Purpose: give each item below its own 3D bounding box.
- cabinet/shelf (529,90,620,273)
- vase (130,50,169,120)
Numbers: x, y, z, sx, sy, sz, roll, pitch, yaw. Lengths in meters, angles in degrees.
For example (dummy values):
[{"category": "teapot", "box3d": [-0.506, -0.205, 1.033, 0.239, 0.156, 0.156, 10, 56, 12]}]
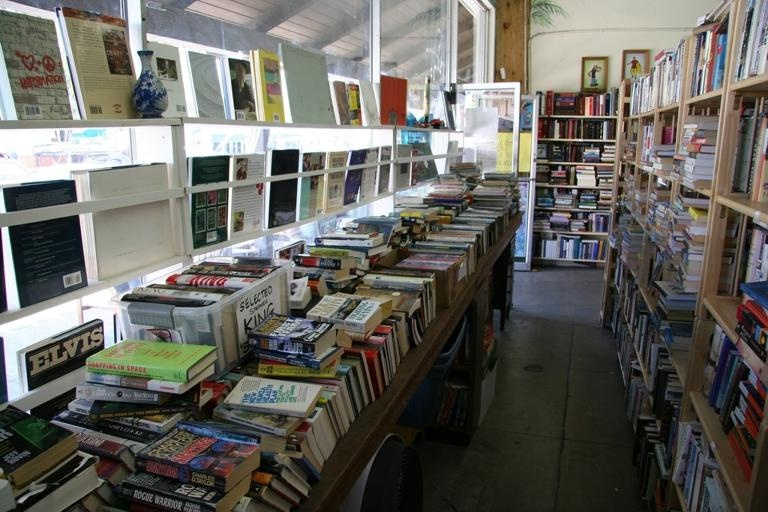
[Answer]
[{"category": "cabinet/shelf", "box3d": [2.551, -1.093, 6.909, 0.786, 2.353, 2.322, 1, 10, 7]}, {"category": "vase", "box3d": [-0.945, -0.686, 2.075, 0.142, 0.262, 0.121, -17, 21, -41]}]
